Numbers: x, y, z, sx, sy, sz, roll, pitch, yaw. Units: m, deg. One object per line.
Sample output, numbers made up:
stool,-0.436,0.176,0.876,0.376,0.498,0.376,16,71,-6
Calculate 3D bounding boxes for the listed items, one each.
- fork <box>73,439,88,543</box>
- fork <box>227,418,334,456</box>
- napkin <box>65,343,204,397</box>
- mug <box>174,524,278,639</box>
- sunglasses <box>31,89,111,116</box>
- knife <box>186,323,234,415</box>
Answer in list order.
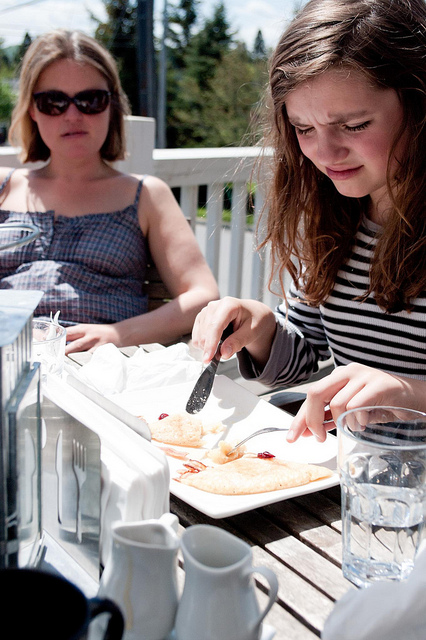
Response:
fork,-0.146,0.191,0.604,0.007,0.114,0.031,-6,11,-37
fork,0.123,0.213,0.981,0.198,0.023,0.022,-12,47,6
napkin,-0.201,0.101,1.300,0.311,0.084,0.221,-10,7,-19
mug,0.008,0.206,0.411,0.077,0.076,0.051,7,11,39
sunglasses,-0.558,-0.856,2.158,0.294,0.115,0.097,-2,9,-16
knife,-0.003,0.108,1.178,0.033,0.030,0.254,27,43,2
